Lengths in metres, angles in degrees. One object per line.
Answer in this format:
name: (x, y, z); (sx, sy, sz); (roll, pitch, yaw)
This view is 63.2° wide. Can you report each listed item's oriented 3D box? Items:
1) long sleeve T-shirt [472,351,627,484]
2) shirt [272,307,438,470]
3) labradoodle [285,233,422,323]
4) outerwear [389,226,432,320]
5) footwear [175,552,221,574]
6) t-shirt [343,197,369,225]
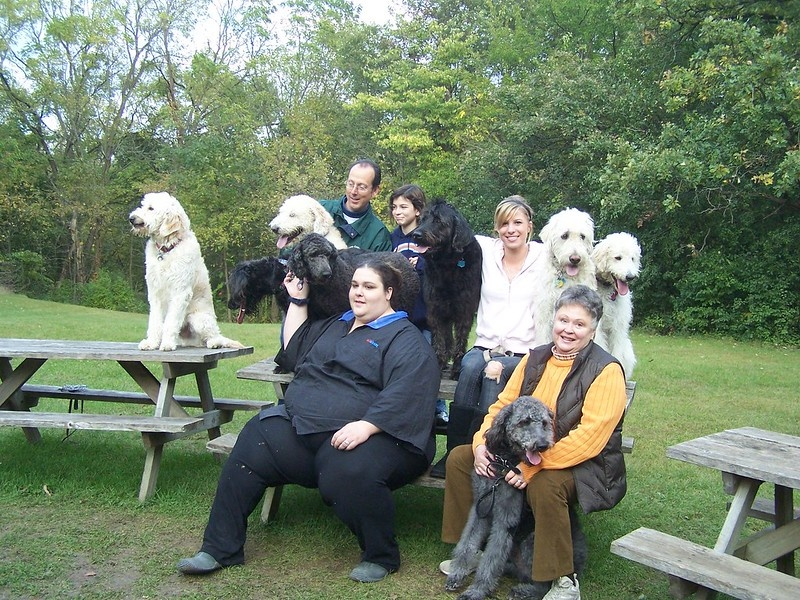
long sleeve T-shirt: (1.210, 0.877, 4.927); (1.173, 0.518, 0.872); (-35, 33, -30)
shirt: (-0.378, 0.652, 5.715); (1.786, 1.154, 1.176); (5, -7, 39)
labradoodle: (-0.403, -0.208, 5.777); (1.111, 0.910, 0.673); (-1, 23, 6)
outerwear: (0.122, -0.405, 6.957); (0.417, 0.979, 0.379); (-15, 47, -1)
footwear: (-1.519, 1.997, 4.942); (0.258, 0.105, 0.155); (2, -10, -6)
t-shirt: (-0.508, -1.007, 7.301); (0.245, 0.191, 0.311); (14, 19, 3)
